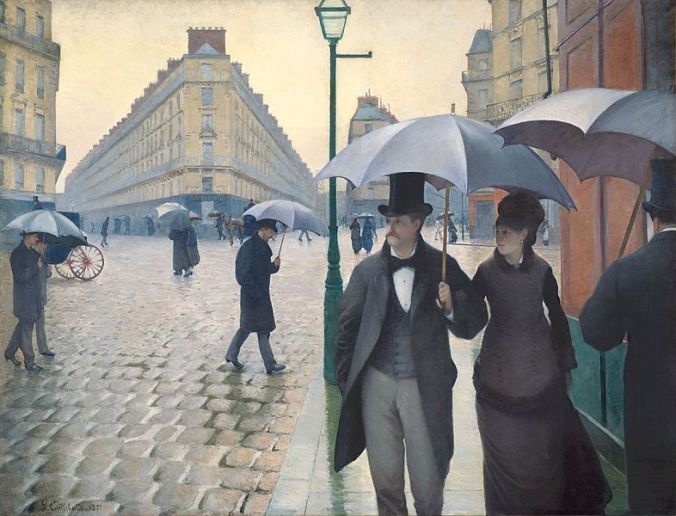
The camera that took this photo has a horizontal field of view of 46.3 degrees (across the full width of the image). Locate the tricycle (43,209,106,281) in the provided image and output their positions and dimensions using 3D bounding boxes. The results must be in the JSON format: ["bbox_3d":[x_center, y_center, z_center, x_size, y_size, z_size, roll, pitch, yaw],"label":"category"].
[{"bbox_3d":[-6.362,-0.246,18.985,1.329,1.258,0.861,-1,19,-15],"label":"tricycle"}]

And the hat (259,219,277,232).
[{"bbox_3d":[-0.884,-0.391,9.826,0.238,0.205,0.363,-2,10,-5],"label":"hat"}]

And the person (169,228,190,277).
[{"bbox_3d":[-4.049,-0.127,20.087,0.504,1.303,0.867,-4,10,-16],"label":"person"}]

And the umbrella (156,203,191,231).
[{"bbox_3d":[-4.192,-0.996,19.902,0.799,0.624,0.807,1,10,12],"label":"umbrella"}]

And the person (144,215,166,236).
[{"bbox_3d":[-9.221,-1.611,39.603,0.835,1.011,0.900,2,12,36],"label":"person"}]

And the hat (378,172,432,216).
[{"bbox_3d":[0.541,-0.485,6.320,0.358,0.309,0.346,-1,-5,23],"label":"hat"}]
